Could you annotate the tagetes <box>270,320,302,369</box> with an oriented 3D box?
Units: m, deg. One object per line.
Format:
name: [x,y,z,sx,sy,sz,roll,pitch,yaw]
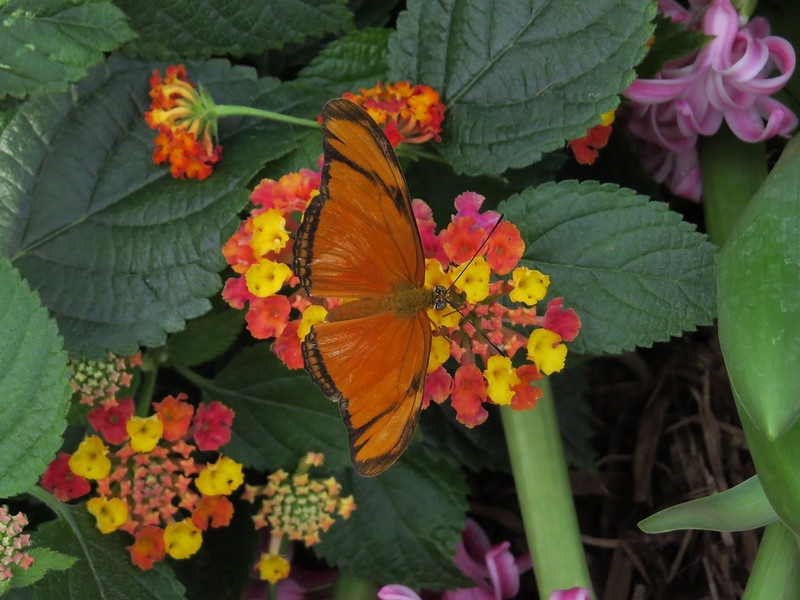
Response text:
tagetes: [-0.212,0.079,1.713,0.067,0.082,0.028,-1,9,8]

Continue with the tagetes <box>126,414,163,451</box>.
tagetes: [-0.511,0.246,1.818,0.065,0.040,0.083,1,-5,-6]

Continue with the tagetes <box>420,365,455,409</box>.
tagetes: [0.069,0.160,1.705,0.068,0.064,0.025,-45,-3,-1]

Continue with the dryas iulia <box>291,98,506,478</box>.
dryas iulia: [0.008,-0.017,1.786,0.394,0.200,0.746,3,-35,1]

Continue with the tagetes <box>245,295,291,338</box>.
tagetes: [-0.245,0.032,1.716,0.094,0.083,0.054,-13,-8,15]

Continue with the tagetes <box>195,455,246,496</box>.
tagetes: [-0.366,0.356,1.856,0.092,0.076,0.038,-9,-7,-17]

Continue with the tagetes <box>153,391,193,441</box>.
tagetes: [-0.448,0.232,1.828,0.077,0.096,0.039,3,-11,-22]

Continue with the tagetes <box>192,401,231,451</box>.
tagetes: [-0.387,0.258,1.897,0.085,0.098,0.050,-8,-7,-16]

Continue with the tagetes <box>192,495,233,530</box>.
tagetes: [-0.383,0.430,1.870,0.080,0.062,0.042,-9,-7,-13]

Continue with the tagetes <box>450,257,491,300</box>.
tagetes: [0.123,-0.037,1.682,0.080,0.096,0.035,8,37,26]

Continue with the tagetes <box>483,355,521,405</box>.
tagetes: [0.186,0.143,1.668,0.066,0.089,0.047,-5,-8,-32]

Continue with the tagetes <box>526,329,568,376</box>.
tagetes: [0.266,0.088,1.695,0.079,0.074,0.032,-43,-11,-18]

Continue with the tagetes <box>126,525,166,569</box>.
tagetes: [-0.506,0.495,1.840,0.069,0.088,0.032,5,-13,-13]

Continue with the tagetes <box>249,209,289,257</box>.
tagetes: [-0.239,-0.123,1.681,0.066,0.086,0.031,-3,-8,0]

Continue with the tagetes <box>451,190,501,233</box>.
tagetes: [0.141,-0.172,1.739,0.059,0.024,0.072,-9,-27,23]

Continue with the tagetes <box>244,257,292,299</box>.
tagetes: [-0.247,-0.041,1.679,0.072,0.069,0.029,-44,-9,-12]

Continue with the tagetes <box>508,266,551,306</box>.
tagetes: [0.230,-0.018,1.702,0.083,0.038,0.074,-38,21,35]

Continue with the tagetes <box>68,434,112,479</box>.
tagetes: [-0.611,0.316,1.821,0.075,0.090,0.062,-8,-8,-12]

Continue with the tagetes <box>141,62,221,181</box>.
tagetes: [-0.439,-0.360,1.866,0.139,0.224,0.131,-8,-7,-12]

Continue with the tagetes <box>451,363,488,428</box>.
tagetes: [0.125,0.169,1.689,0.083,0.105,0.044,10,4,5]

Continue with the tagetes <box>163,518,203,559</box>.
tagetes: [-0.439,0.479,1.848,0.072,0.071,0.035,-8,-7,-17]
